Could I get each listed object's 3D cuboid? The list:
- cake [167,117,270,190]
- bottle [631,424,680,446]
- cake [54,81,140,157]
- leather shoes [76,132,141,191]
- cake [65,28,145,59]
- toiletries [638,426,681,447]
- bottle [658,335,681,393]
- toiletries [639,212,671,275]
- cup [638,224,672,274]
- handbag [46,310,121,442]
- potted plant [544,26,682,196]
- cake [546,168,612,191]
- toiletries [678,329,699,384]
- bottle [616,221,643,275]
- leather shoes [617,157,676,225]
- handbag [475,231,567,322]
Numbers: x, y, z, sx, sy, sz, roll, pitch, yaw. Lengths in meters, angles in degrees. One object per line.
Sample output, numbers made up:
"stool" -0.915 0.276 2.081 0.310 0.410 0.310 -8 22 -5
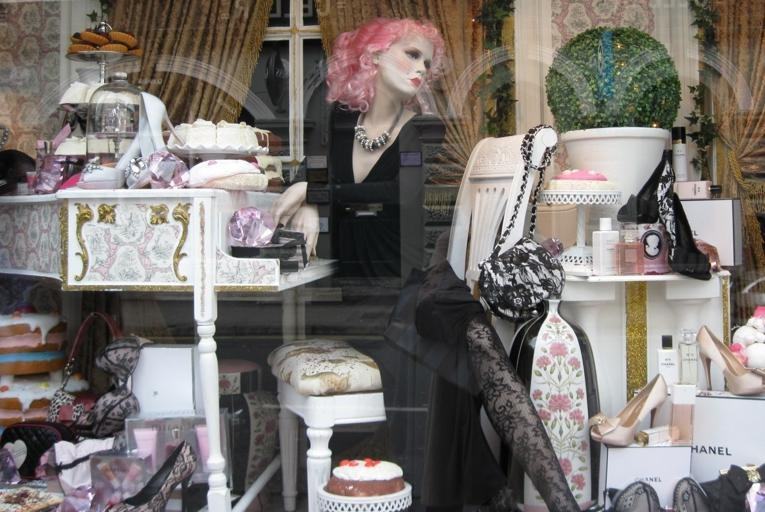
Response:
"cake" -0.747 -0.432 3.599 0.455 0.276 0.464 -6 8 -30
"bottle" 1.119 0.730 3.332 0.132 0.041 0.069 -6 7 -24
"cake" -1.277 -0.631 3.676 0.408 0.409 0.310 1 1 -17
"leather shoes" -1.112 -0.401 3.433 0.115 0.155 0.359 15 25 23
"cake" -1.436 -1.094 4.144 0.208 0.062 0.210 -1 1 35
"toiletries" 1.127 0.747 3.327 0.128 0.042 0.070 -8 8 -21
"bottle" 1.224 0.465 3.463 0.101 0.243 0.101 1 -9 0
"toiletries" 1.190 -0.014 3.544 0.151 0.232 0.136 -4 -19 28
"cup" 1.192 -0.021 3.548 0.159 0.239 0.148 4 -14 1
"handbag" -1.386 0.531 3.791 0.216 0.593 0.325 5 -13 35
"potted plant" 1.098 -0.674 3.836 0.630 0.803 0.602 -2 2 6
"cake" 0.860 -0.337 3.541 0.289 0.089 0.150 0 5 -2
"toiletries" 1.315 0.433 3.498 0.103 0.236 0.101 2 3 41
"bottle" 1.078 -0.027 3.528 0.126 0.200 0.125 3 -6 0
"leather shoes" 1.121 -0.300 3.594 0.280 0.347 0.266 -2 5 9
"handbag" 0.538 0.056 3.559 0.195 0.418 0.468 0 22 -18
